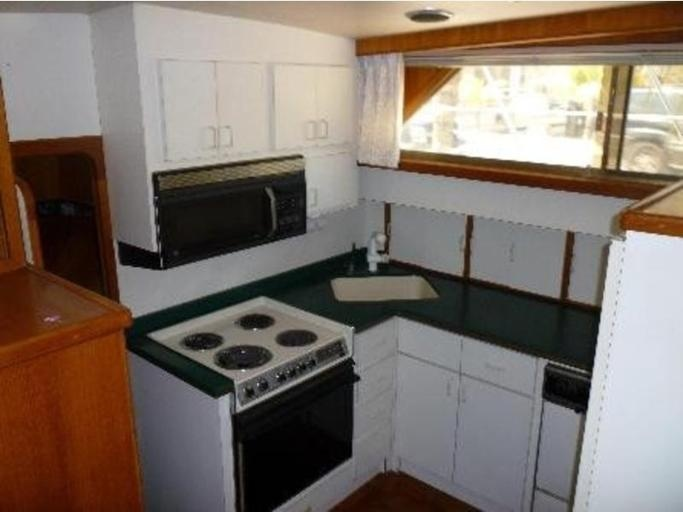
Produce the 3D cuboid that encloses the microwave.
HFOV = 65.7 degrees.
[{"bbox_3d":[-0.598,-0.259,2.840,0.834,0.390,0.281,-14,35,-31],"label":"microwave"}]

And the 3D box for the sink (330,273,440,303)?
[{"bbox_3d":[0.286,0.231,3.759,0.426,0.091,0.296,-1,15,-15],"label":"sink"}]

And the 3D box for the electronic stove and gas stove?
[{"bbox_3d":[-0.460,0.452,2.821,0.584,0.159,0.618,14,21,37],"label":"electronic stove and gas stove"}]
